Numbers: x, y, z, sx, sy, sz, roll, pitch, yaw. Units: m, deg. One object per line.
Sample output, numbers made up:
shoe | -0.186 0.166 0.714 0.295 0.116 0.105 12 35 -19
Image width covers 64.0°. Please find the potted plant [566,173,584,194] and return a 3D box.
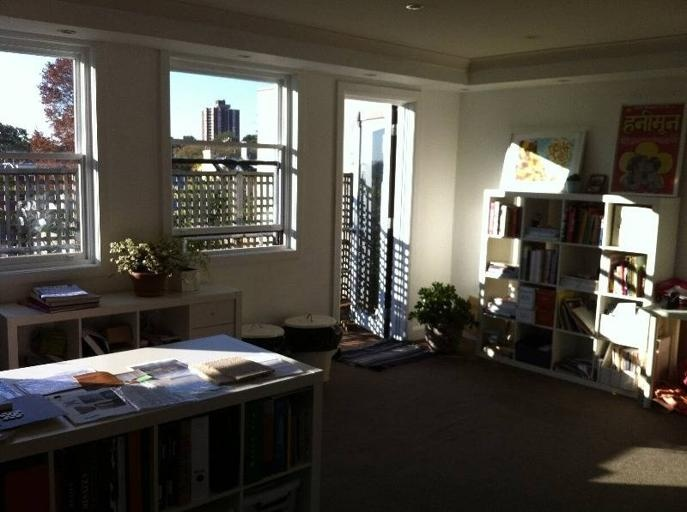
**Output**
potted plant | 2.235 -0.705 5.371 0.165 0.222 0.171 4 4 38

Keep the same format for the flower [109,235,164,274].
flower | -1.645 -0.069 4.386 0.361 0.264 0.306 -1 6 -1

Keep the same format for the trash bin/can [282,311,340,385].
trash bin/can | -0.242 0.781 5.109 0.539 0.626 0.559 1 10 5

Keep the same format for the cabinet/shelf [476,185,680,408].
cabinet/shelf | 2.255 0.387 5.186 0.515 1.785 1.694 -4 11 -37

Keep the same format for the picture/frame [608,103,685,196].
picture/frame | 2.820 -0.998 5.127 0.557 0.827 0.227 6 11 28

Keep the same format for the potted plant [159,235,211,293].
potted plant | -1.279 0.041 4.595 0.380 0.552 0.530 -2 7 -9

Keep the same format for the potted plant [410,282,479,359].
potted plant | 1.100 0.610 6.158 0.757 0.810 0.708 3 6 39

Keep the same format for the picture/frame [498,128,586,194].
picture/frame | 2.095 -0.988 5.745 0.054 0.623 0.688 9 0 -43

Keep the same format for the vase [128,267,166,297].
vase | -1.535 0.202 4.380 0.214 0.147 0.222 0 1 0

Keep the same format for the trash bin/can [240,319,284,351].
trash bin/can | -0.698 0.667 4.628 0.343 0.246 0.352 7 9 43
